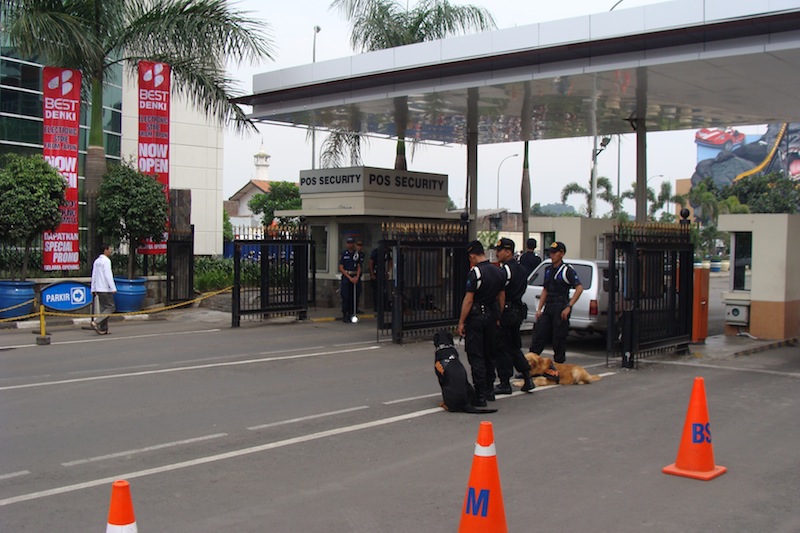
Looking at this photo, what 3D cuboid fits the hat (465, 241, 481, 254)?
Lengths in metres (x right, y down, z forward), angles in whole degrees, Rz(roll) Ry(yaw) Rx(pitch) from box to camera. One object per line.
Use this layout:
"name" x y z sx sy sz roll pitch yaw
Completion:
"hat" 1.338 -0.344 15.571 0.218 0.235 0.179 -18 -2 24

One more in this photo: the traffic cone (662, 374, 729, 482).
"traffic cone" 4.401 2.309 12.952 0.873 1.459 0.840 2 5 22

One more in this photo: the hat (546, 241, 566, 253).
"hat" 3.235 -0.379 17.570 0.451 0.273 0.333 4 -1 -24

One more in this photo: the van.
"van" 3.965 0.737 19.686 1.380 1.318 2.413 2 7 38

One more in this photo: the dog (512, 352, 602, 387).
"dog" 3.271 1.978 16.777 0.408 0.497 1.205 -17 9 -35

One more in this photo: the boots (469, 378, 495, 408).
"boots" 1.427 2.198 15.226 0.370 0.521 0.398 -2 5 -28

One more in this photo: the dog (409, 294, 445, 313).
"dog" 0.551 0.878 21.067 0.662 0.501 0.354 2 -4 -39

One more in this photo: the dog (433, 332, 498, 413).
"dog" 1.084 1.851 14.905 0.553 0.939 2.077 -9 36 -9

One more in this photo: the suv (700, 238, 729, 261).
"suv" 33.616 -1.914 93.683 2.129 2.349 1.156 -3 6 -30

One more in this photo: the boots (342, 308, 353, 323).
"boots" -1.520 1.357 24.607 0.348 0.470 0.249 -1 1 36

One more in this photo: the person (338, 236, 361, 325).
"person" -1.402 0.349 24.535 0.577 2.302 0.834 0 5 -4

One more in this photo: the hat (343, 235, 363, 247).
"hat" -1.401 -0.744 25.258 0.471 0.287 0.360 5 3 34
